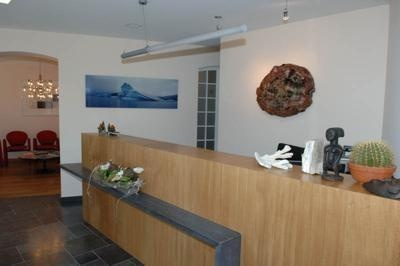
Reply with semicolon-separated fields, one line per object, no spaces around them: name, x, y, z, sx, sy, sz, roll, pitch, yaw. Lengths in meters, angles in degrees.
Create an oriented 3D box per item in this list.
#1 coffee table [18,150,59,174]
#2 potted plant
coffee table;-5.155;0.871;9.145;1.067;0.660;2.331;-4;10;-27
potted plant;1.592;0.237;2.576;0.381;0.368;0.375;-2;0;-35
